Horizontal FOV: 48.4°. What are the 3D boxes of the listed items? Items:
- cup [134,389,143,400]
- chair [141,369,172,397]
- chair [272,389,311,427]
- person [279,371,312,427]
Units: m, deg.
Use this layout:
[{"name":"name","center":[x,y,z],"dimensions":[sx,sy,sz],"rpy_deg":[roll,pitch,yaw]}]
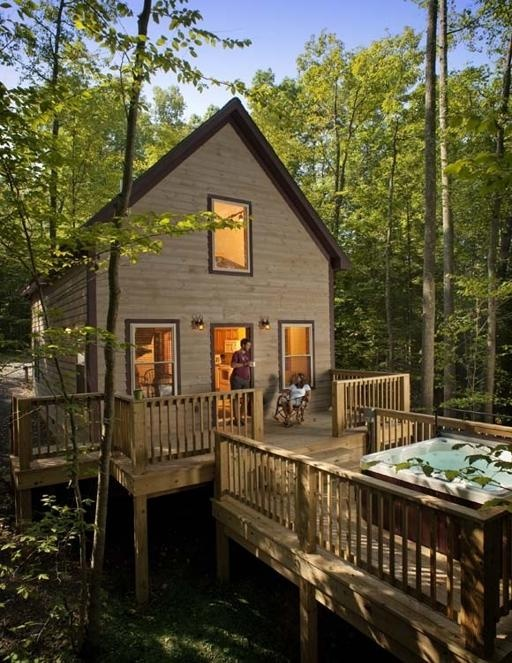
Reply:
[{"name":"cup","center":[-1.606,0.873,7.836],"dimensions":[0.144,0.143,0.136],"rpy_deg":[-1,4,0]},{"name":"chair","center":[-1.847,0.960,10.705],"dimensions":[0.567,0.743,0.577],"rpy_deg":[0,-2,-15]},{"name":"chair","center":[0.779,1.586,11.767],"dimensions":[0.754,0.866,0.675],"rpy_deg":[9,-6,-17]},{"name":"person","center":[0.798,1.396,11.761],"dimensions":[0.663,1.075,1.522],"rpy_deg":[1,5,4]}]
